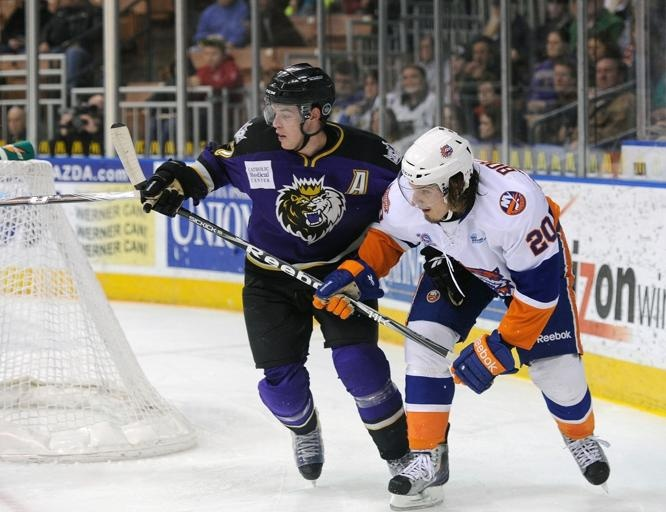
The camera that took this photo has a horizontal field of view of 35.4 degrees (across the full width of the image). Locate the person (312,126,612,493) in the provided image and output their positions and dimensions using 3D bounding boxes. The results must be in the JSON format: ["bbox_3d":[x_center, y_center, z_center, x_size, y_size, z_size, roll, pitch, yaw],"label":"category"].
[{"bbox_3d":[0.607,0.238,4.579,1.193,1.598,0.569,-2,12,-15],"label":"person"}]

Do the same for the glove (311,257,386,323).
[{"bbox_3d":[0.070,0.137,4.596,0.294,0.135,0.234,-37,-35,0],"label":"glove"}]

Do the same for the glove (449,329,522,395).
[{"bbox_3d":[0.658,0.440,4.420,0.278,0.244,0.120,-43,-13,14],"label":"glove"}]

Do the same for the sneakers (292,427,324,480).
[{"bbox_3d":[-0.124,0.900,4.812,0.092,0.276,0.120,-12,-36,6],"label":"sneakers"}]

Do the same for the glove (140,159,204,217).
[{"bbox_3d":[-0.738,-0.321,4.776,0.277,0.238,0.123,-16,-19,-42],"label":"glove"}]

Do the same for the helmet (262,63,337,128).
[{"bbox_3d":[-0.147,-0.712,4.587,0.291,0.280,0.240,3,7,-15],"label":"helmet"}]

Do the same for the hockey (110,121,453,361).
[{"bbox_3d":[-0.274,-0.041,5.568,0.187,2.751,0.474,-61,1,38],"label":"hockey"}]

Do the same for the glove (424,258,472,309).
[{"bbox_3d":[0.502,0.116,4.580,0.163,0.206,0.085,-38,-17,21],"label":"glove"}]

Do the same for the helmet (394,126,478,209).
[{"bbox_3d":[0.419,-0.411,4.443,0.327,0.320,0.247,-29,38,2],"label":"helmet"}]

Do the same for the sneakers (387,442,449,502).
[{"bbox_3d":[0.396,0.956,4.555,0.120,0.257,0.375,11,15,42],"label":"sneakers"}]

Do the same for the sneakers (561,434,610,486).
[{"bbox_3d":[1.144,0.886,4.725,0.134,0.252,0.098,-34,-45,19],"label":"sneakers"}]
